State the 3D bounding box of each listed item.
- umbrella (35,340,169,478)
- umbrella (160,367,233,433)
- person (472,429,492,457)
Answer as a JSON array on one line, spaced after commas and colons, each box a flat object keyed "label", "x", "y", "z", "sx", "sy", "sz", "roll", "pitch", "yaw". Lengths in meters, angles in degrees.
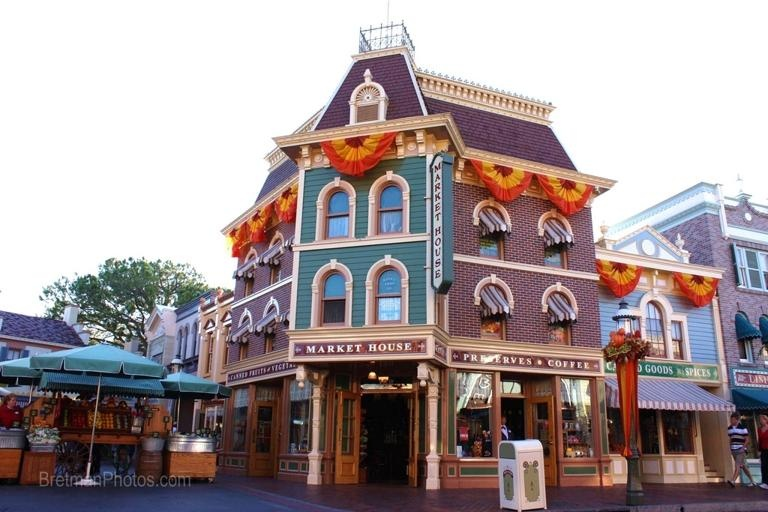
[{"label": "umbrella", "x": -9.701, "y": 5.128, "z": 19.703, "sx": 4.315, "sy": 4.404, "sz": 3.873, "roll": 9, "pitch": -14, "yaw": -23}, {"label": "umbrella", "x": -7.477, "y": 5.074, "z": 22.720, "sx": 1.972, "sy": 1.360, "sz": 2.083, "roll": -1, "pitch": -13, "yaw": 25}, {"label": "person", "x": 3.650, "y": 6.985, "z": 21.952, "sx": 0.815, "sy": 1.442, "sz": 0.858, "roll": -3, "pitch": -12, "yaw": 14}]
